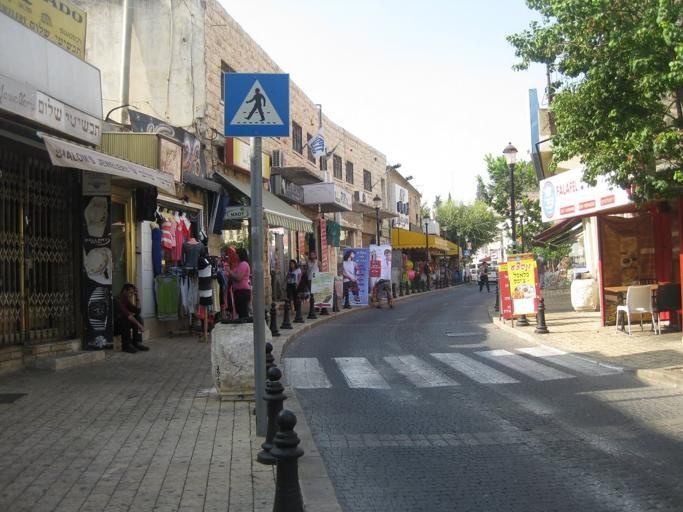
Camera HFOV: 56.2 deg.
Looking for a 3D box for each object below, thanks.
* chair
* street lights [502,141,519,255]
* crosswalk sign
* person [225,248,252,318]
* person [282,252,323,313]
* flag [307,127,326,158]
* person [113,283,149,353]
[{"bbox_3d":[7.468,1.134,15.875,1.147,1.504,1.291,-2,5,4],"label":"chair"},{"bbox_3d":[5.881,-1.791,21.898,0.542,4.104,0.577,-3,3,-4],"label":"street lights"},{"bbox_3d":[-0.999,-1.807,7.635,0.776,0.837,0.239,-4,-4,-7],"label":"crosswalk sign"},{"bbox_3d":[-2.292,0.882,14.378,0.511,2.127,0.637,1,-12,-4],"label":"person"},{"bbox_3d":[-1.349,0.875,22.278,0.950,2.325,1.048,1,5,4],"label":"person"},{"bbox_3d":[-1.006,-4.791,27.173,0.576,1.267,0.817,-3,-5,-13],"label":"flag"},{"bbox_3d":[-4.609,1.429,14.051,0.599,1.701,0.715,0,0,5],"label":"person"}]
